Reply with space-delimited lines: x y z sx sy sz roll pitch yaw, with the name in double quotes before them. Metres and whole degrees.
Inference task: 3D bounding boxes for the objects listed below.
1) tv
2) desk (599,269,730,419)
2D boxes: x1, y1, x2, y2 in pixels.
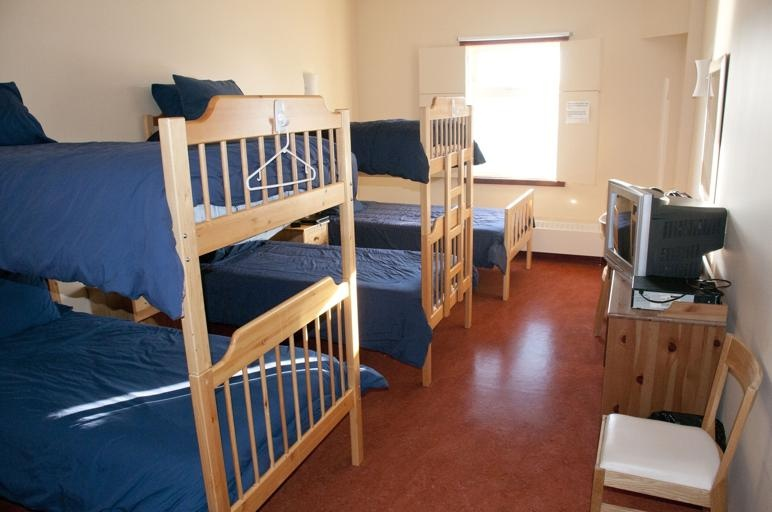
"tv" 1.876 -0.188 3.775 0.640 0.594 0.579 0 18 4
"desk" 1.729 0.627 3.490 0.648 1.095 1.146 7 9 33
